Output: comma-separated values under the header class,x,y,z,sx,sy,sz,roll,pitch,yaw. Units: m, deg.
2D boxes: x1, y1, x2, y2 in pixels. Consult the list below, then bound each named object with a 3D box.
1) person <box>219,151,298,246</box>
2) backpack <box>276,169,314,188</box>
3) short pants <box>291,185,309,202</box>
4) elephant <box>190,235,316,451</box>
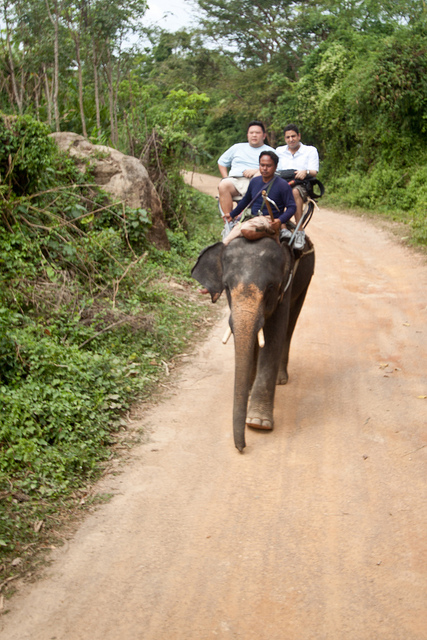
class,x,y,z,sx,sy,sz,roll,pitch,yaw
person,0.359,-0.903,4.654,0.482,0.713,0.396,-19,31,-31
backpack,0.780,-1.331,5.751,0.362,0.137,0.338,-5,19,-28
short pants,0.833,-1.177,5.679,0.171,0.160,0.130,13,30,30
elephant,0.362,-0.009,5.003,0.863,1.424,2.097,1,11,14
